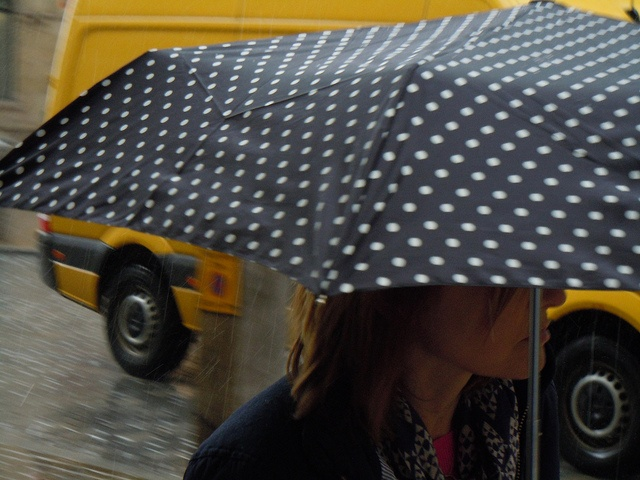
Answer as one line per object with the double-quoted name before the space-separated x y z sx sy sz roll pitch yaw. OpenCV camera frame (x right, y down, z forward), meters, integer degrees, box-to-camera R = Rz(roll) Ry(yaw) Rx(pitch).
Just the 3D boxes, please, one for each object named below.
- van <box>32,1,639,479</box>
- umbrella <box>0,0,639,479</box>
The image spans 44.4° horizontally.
"van" -0.039 -0.205 4.399 3.356 2.187 1.785 3 10 32
"umbrella" -0.013 -0.320 4.382 3.303 2.178 1.747 2 9 30
